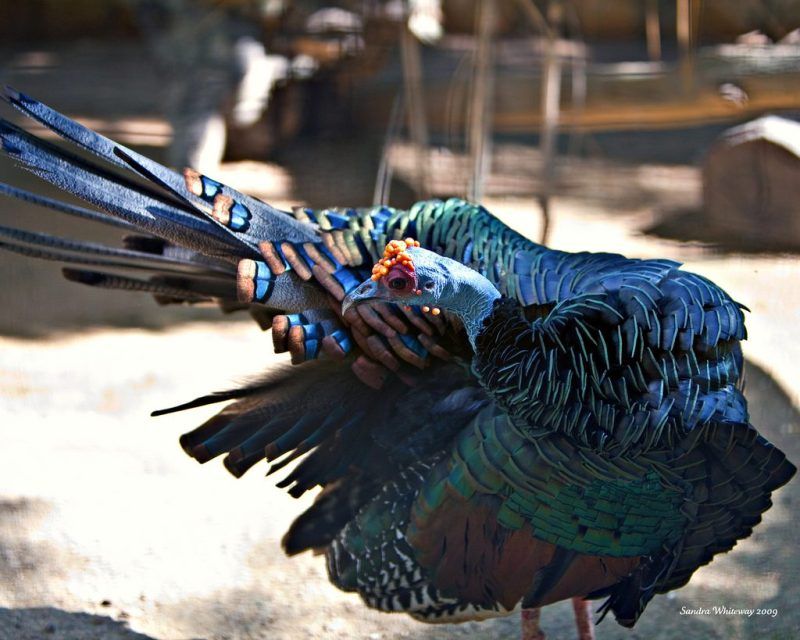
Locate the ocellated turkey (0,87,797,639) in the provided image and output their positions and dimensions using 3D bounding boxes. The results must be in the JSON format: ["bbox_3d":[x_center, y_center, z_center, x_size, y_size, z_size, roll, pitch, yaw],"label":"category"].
[{"bbox_3d":[0.121,0.211,3.674,1.696,1.356,0.832,16,41,25],"label":"ocellated turkey"}]
